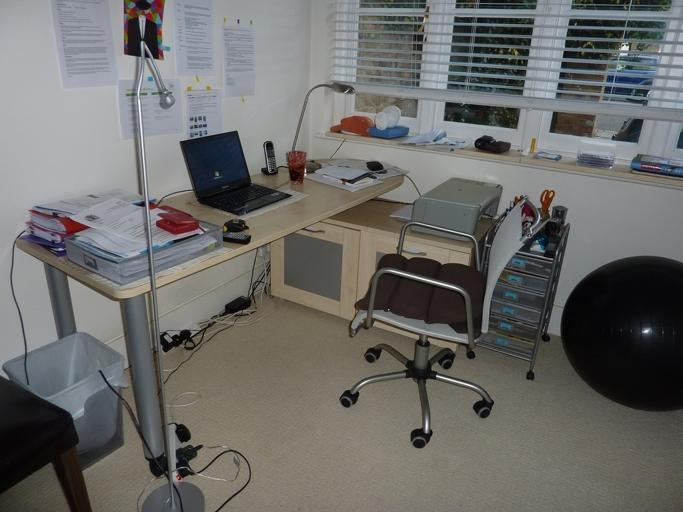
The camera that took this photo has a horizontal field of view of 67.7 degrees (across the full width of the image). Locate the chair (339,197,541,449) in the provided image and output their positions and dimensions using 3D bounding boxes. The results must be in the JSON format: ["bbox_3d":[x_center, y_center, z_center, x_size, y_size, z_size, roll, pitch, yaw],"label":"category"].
[{"bbox_3d":[0.459,0.284,2.644,0.810,1.146,0.788,10,26,20],"label":"chair"}]

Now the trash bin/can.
[{"bbox_3d":[-1.172,0.625,2.149,0.409,0.516,0.419,13,23,25],"label":"trash bin/can"}]

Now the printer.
[{"bbox_3d":[0.637,-0.301,2.898,0.357,0.223,0.519,13,32,27],"label":"printer"}]

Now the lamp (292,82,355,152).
[{"bbox_3d":[-0.151,-0.948,3.457,0.381,0.494,0.542,-1,25,-6],"label":"lamp"}]

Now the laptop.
[{"bbox_3d":[-0.587,-0.418,2.723,0.517,0.361,0.494,26,36,26],"label":"laptop"}]

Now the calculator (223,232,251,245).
[{"bbox_3d":[-0.480,-0.088,2.288,0.084,0.034,0.063,12,29,17],"label":"calculator"}]

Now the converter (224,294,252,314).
[{"bbox_3d":[-0.698,0.312,3.359,0.081,0.055,0.147,20,26,35],"label":"converter"}]
